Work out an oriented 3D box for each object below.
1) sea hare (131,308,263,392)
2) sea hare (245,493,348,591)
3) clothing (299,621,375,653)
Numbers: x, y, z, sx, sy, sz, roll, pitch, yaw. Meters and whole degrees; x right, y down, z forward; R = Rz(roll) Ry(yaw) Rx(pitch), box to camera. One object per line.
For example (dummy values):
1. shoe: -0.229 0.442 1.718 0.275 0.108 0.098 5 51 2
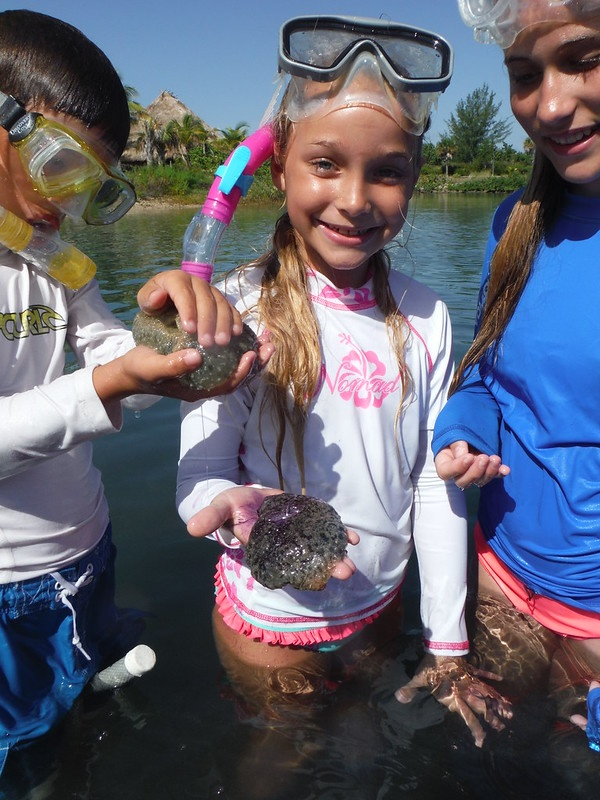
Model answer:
1. sea hare: -0.295 -0.141 1.924 0.329 0.186 0.129 23 13 12
2. sea hare: -0.007 0.451 1.971 0.275 0.329 0.218 3 20 7
3. clothing: 0.125 0.748 2.244 0.109 0.047 0.137 5 -14 -37
